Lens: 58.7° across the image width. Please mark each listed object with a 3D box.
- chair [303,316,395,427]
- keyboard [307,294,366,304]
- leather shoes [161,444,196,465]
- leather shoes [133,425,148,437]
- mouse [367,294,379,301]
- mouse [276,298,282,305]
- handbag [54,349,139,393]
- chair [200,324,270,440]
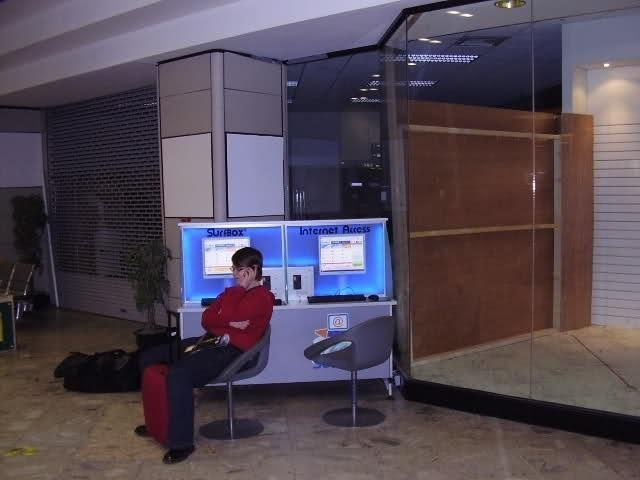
[{"bbox_3d":[0.274,1.193,5.384,0.859,0.974,0.844,-1,0,-18],"label":"chair"},{"bbox_3d":[0.167,0.583,5.712,0.598,0.068,0.186,-3,5,-2],"label":"keyboard"},{"bbox_3d":[-1.162,1.768,4.669,0.095,0.089,0.210,-3,-9,31],"label":"leather shoes"},{"bbox_3d":[-1.598,1.703,5.069,0.097,0.074,0.177,11,-3,-4],"label":"leather shoes"},{"bbox_3d":[0.525,0.585,5.711,0.113,0.041,0.145,-3,5,6],"label":"mouse"},{"bbox_3d":[-0.421,0.618,5.699,0.081,0.077,0.041,1,-10,-33],"label":"mouse"},{"bbox_3d":[-2.310,1.388,6.076,0.687,0.227,0.519,1,-2,10],"label":"handbag"},{"bbox_3d":[-0.795,1.260,5.136,0.648,0.897,0.635,-2,-3,-10],"label":"chair"}]
